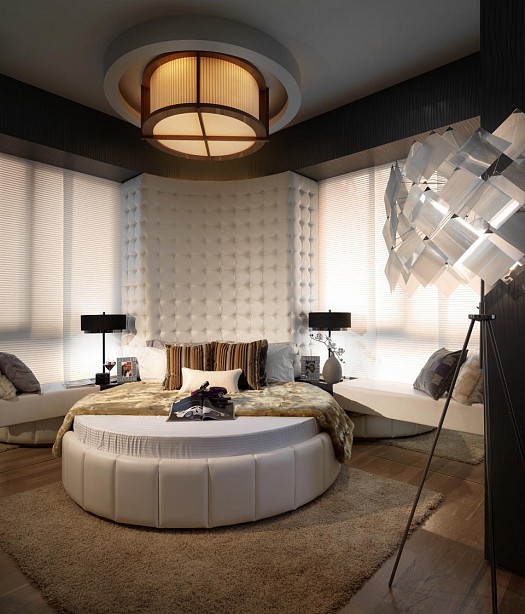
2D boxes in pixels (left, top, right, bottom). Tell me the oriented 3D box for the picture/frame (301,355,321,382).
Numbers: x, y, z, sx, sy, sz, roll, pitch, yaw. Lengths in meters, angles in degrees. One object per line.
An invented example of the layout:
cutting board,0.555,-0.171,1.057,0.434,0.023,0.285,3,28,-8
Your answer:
picture/frame,0.448,0.580,4.490,0.229,0.289,0.051,-1,-18,13

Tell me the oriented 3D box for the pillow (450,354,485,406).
pillow,1.441,0.500,3.348,0.127,0.307,0.306,25,-26,4

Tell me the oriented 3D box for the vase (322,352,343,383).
vase,0.618,0.546,4.308,0.223,0.298,0.217,0,4,6

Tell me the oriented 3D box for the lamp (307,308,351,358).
lamp,0.626,0.322,4.441,0.416,0.572,0.379,0,6,-2

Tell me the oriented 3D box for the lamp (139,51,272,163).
lamp,-0.417,-1.434,3.570,0.917,0.375,0.893,1,-7,-17

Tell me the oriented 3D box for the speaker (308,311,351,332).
speaker,0.598,0.120,4.306,0.368,0.175,0.203,1,5,7

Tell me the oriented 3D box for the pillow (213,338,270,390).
pillow,-0.213,0.469,4.023,0.484,0.427,0.168,0,-7,36

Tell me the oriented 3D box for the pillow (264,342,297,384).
pillow,0.136,0.482,4.138,0.308,0.295,0.111,13,-31,-36

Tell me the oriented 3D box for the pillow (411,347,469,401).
pillow,1.292,0.484,3.463,0.133,0.417,0.444,21,12,2

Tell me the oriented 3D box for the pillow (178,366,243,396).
pillow,-0.403,0.617,3.656,0.515,0.254,0.142,1,-30,5

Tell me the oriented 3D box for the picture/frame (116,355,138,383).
picture/frame,-1.237,0.573,4.424,0.220,0.293,0.215,0,-1,2

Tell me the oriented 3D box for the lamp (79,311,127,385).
lamp,-1.461,0.418,4.439,0.410,0.646,0.400,3,-12,-33
